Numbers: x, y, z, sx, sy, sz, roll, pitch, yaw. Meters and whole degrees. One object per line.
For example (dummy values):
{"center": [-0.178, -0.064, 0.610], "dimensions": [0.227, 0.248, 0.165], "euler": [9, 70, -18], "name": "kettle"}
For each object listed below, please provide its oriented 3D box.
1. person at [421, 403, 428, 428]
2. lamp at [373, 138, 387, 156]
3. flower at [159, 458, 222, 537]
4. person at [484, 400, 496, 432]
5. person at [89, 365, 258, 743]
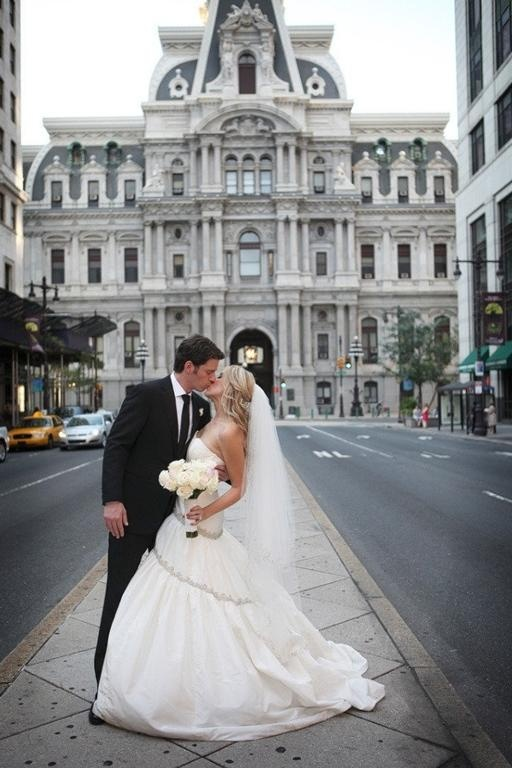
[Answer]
{"center": [8.902, 1.666, 41.951], "dimensions": [0.395, 1.092, 1.563], "euler": [-1, -3, 12], "name": "person"}
{"center": [10.670, -19.999, 68.404], "dimensions": [1.351, 1.840, 1.236], "euler": [0, 1, 4], "name": "lamp"}
{"center": [-0.367, 0.617, 4.309], "dimensions": [0.291, 0.386, 0.340], "euler": [2, -2, -5], "name": "flower"}
{"center": [9.630, 1.350, 32.613], "dimensions": [0.347, 1.294, 3.457], "euler": [-1, -3, 16], "name": "person"}
{"center": [-0.413, 0.818, 4.302], "dimensions": [0.835, 1.855, 0.778], "euler": [-1, -2, 0], "name": "person"}
